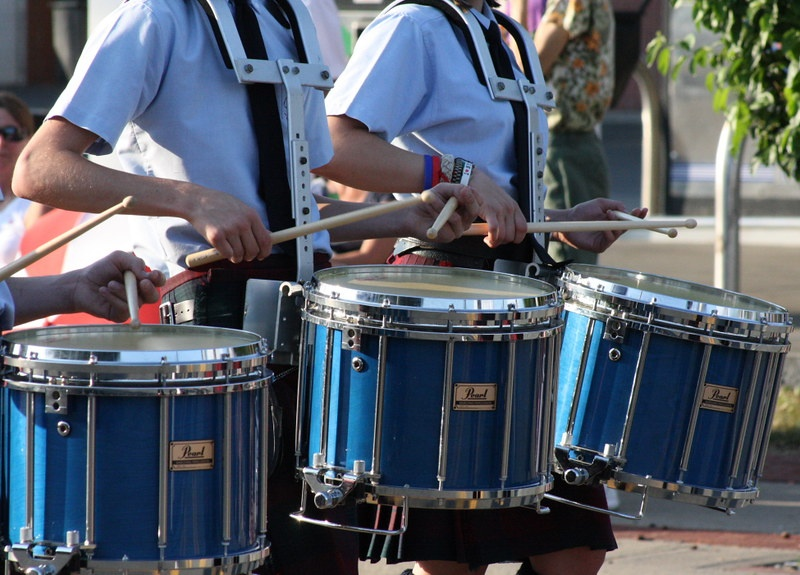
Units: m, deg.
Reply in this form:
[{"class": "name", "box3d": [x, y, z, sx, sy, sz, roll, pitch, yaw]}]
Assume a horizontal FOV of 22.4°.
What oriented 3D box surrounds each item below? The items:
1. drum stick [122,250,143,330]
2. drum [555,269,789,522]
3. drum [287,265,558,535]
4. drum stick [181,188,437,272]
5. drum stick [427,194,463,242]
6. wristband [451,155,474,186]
[{"class": "drum stick", "box3d": [-0.843, 0.029, 6.419, 0.040, 0.034, 0.220, -3, 48, -11]}, {"class": "drum", "box3d": [0.871, 0.335, 7.093, 0.885, 0.678, 0.810, 14, 5, -1]}, {"class": "drum", "box3d": [0.013, 0.343, 6.492, 0.904, 0.573, 0.888, 5, 4, 0]}, {"class": "drum stick", "box3d": [-0.316, -0.190, 6.724, 1.020, 0.067, 0.093, -14, 24, -8]}, {"class": "drum stick", "box3d": [0.150, -0.229, 6.686, 0.055, 0.042, 0.221, 28, 39, 3]}, {"class": "wristband", "box3d": [0.218, -0.397, 6.966, 0.030, 0.085, 0.095, 9, 4, -43]}]
